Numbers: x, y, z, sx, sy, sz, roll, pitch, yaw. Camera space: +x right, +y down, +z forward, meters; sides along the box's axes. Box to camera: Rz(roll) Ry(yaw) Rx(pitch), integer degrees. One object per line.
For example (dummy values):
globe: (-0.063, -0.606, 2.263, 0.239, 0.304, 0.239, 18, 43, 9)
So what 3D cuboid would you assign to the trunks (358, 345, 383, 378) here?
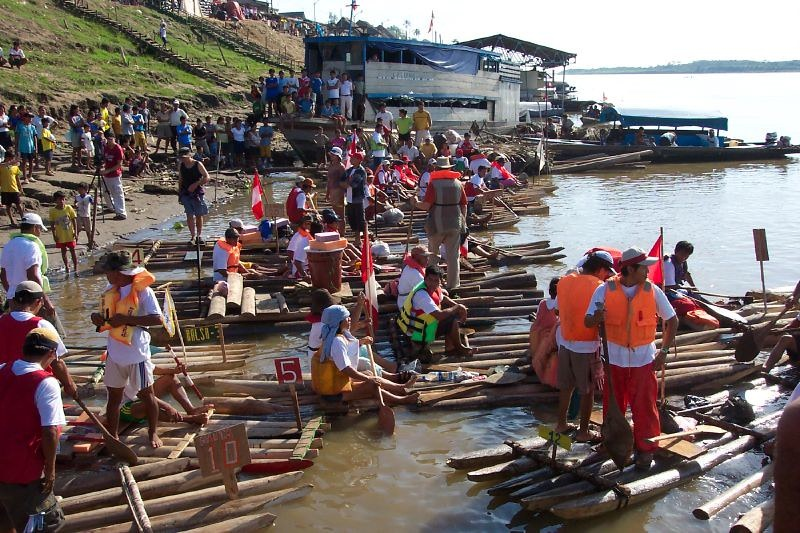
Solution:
trunks: (-0.545, 1.649, 13.496, 0.211, 0.800, 0.235, -16, 0, -37)

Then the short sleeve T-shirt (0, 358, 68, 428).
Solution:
short sleeve T-shirt: (-4.555, 1.692, 10.252, 0.773, 0.793, 0.318, 22, 29, 28)

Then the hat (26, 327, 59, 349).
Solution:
hat: (-4.688, 0.941, 10.626, 0.365, 0.287, 0.403, -5, 10, -18)

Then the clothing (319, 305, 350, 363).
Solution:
clothing: (-0.998, 1.037, 12.780, 0.538, 0.737, 0.383, 4, -12, 25)

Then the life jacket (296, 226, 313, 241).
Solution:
life jacket: (-2.033, -0.704, 17.340, 0.258, 0.309, 0.232, -18, 15, 11)

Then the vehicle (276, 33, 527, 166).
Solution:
vehicle: (0.638, -8.211, 39.552, 3.764, 4.857, 17.124, 11, 17, 37)

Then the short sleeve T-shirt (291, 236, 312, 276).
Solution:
short sleeve T-shirt: (-2.068, -0.239, 17.128, 0.381, 0.733, 0.657, -5, 13, -26)

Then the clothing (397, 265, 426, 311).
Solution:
clothing: (0.128, 0.425, 15.161, 0.504, 0.908, 0.893, -1, 2, -9)

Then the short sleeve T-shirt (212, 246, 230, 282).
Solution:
short sleeve T-shirt: (-3.727, -0.052, 16.907, 0.254, 0.650, 0.657, -6, 8, -13)

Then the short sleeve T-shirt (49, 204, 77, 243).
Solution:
short sleeve T-shirt: (-7.698, -0.918, 18.598, 0.483, 0.645, 0.342, 0, 4, -7)

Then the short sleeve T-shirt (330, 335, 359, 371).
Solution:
short sleeve T-shirt: (-0.851, 1.236, 12.985, 0.445, 0.772, 0.785, 2, 7, 2)

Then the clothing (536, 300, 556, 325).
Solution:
clothing: (2.482, 0.785, 13.711, 0.322, 0.443, 0.228, 7, 14, 14)

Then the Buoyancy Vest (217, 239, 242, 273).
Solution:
Buoyancy Vest: (-3.606, -0.208, 17.004, 0.565, 0.574, 0.306, 11, 21, 36)

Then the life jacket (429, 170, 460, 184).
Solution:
life jacket: (0.928, -1.926, 17.345, 0.467, 0.195, 0.438, 0, 6, -13)

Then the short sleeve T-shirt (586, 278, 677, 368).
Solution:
short sleeve T-shirt: (3.299, 0.824, 11.791, 1.410, 1.446, 0.645, -1, -2, 8)

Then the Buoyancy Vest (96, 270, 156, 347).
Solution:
Buoyancy Vest: (-4.105, 0.348, 12.138, 0.706, 0.341, 1.119, 14, 35, -9)

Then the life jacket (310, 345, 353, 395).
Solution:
life jacket: (-1.153, 1.649, 13.057, 0.645, 0.827, 0.463, 2, 5, 39)

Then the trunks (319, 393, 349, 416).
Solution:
trunks: (-1.048, 2.203, 12.978, 0.558, 0.319, 0.401, -2, -24, -3)

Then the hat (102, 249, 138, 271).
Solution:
hat: (-4.072, -0.071, 11.733, 0.439, 0.212, 0.458, 0, 8, 24)

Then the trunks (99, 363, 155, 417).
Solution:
trunks: (-4.026, 1.834, 12.029, 0.753, 1.032, 0.431, 3, 44, -19)

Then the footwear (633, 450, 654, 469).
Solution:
footwear: (3.530, 2.773, 11.725, 0.285, 0.300, 0.179, 0, 7, 18)
